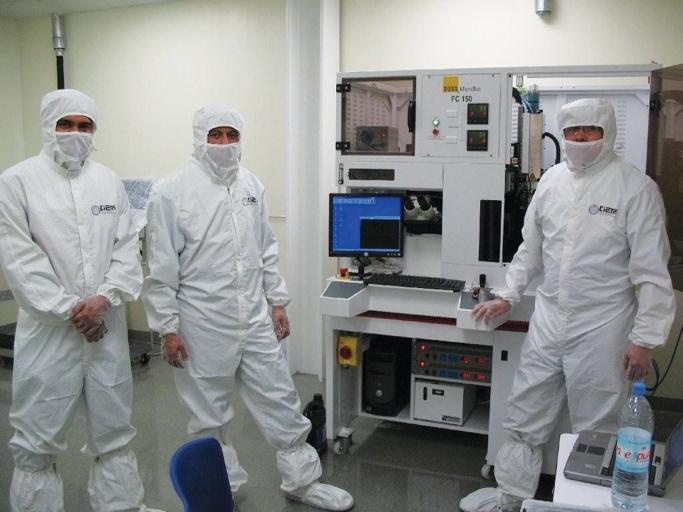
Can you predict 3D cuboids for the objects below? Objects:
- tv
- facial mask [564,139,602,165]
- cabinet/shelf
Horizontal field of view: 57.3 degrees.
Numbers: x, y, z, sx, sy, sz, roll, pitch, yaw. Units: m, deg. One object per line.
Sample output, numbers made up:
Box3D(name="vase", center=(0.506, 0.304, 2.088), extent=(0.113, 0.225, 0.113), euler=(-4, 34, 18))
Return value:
Box3D(name="tv", center=(0.153, -0.144, 3.712), extent=(0.445, 0.517, 0.127), euler=(0, -1, 4))
Box3D(name="facial mask", center=(1.134, -0.468, 2.946), extent=(0.124, 0.112, 0.122), euler=(4, 4, 30))
Box3D(name="cabinet/shelf", center=(0.816, 0.063, 3.954), extent=(1.634, 2.348, 1.248), euler=(2, 5, 9))
